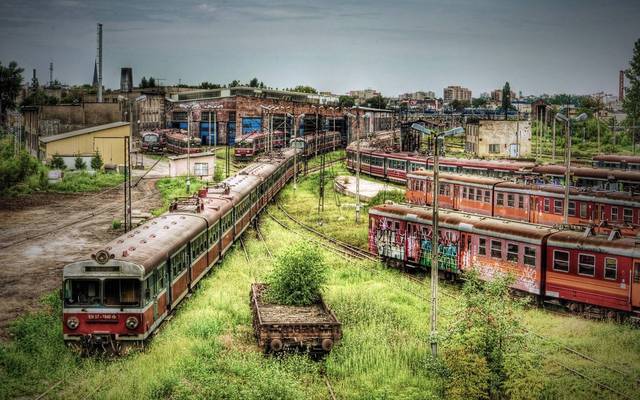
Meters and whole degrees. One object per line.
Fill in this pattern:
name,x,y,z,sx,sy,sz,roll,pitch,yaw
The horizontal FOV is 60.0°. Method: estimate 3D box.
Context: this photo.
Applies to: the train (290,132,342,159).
train,0.617,-8.705,82.890,2.980,4.003,18.035,0,4,23
